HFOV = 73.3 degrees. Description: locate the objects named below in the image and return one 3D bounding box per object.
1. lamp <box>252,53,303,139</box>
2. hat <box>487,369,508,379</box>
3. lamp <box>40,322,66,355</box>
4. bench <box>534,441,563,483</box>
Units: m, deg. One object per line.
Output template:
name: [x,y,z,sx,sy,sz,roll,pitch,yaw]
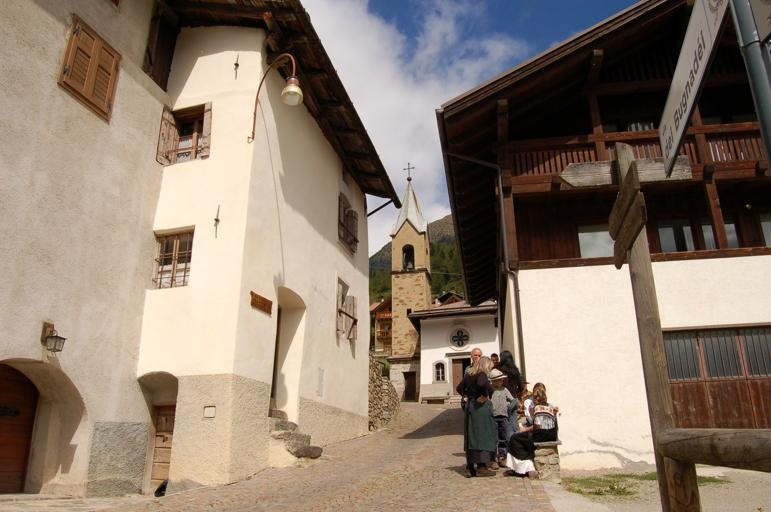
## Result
lamp: [-2.466,-3.688,11.706,1.380,2.022,0.518,-15,-24,27]
hat: [2.101,2.254,9.864,0.255,0.101,0.236,-14,-13,34]
lamp: [-6.187,1.491,9.625,0.349,0.531,0.311,4,-25,-22]
bench: [2.870,3.624,9.146,0.455,0.664,0.312,-2,-11,3]
